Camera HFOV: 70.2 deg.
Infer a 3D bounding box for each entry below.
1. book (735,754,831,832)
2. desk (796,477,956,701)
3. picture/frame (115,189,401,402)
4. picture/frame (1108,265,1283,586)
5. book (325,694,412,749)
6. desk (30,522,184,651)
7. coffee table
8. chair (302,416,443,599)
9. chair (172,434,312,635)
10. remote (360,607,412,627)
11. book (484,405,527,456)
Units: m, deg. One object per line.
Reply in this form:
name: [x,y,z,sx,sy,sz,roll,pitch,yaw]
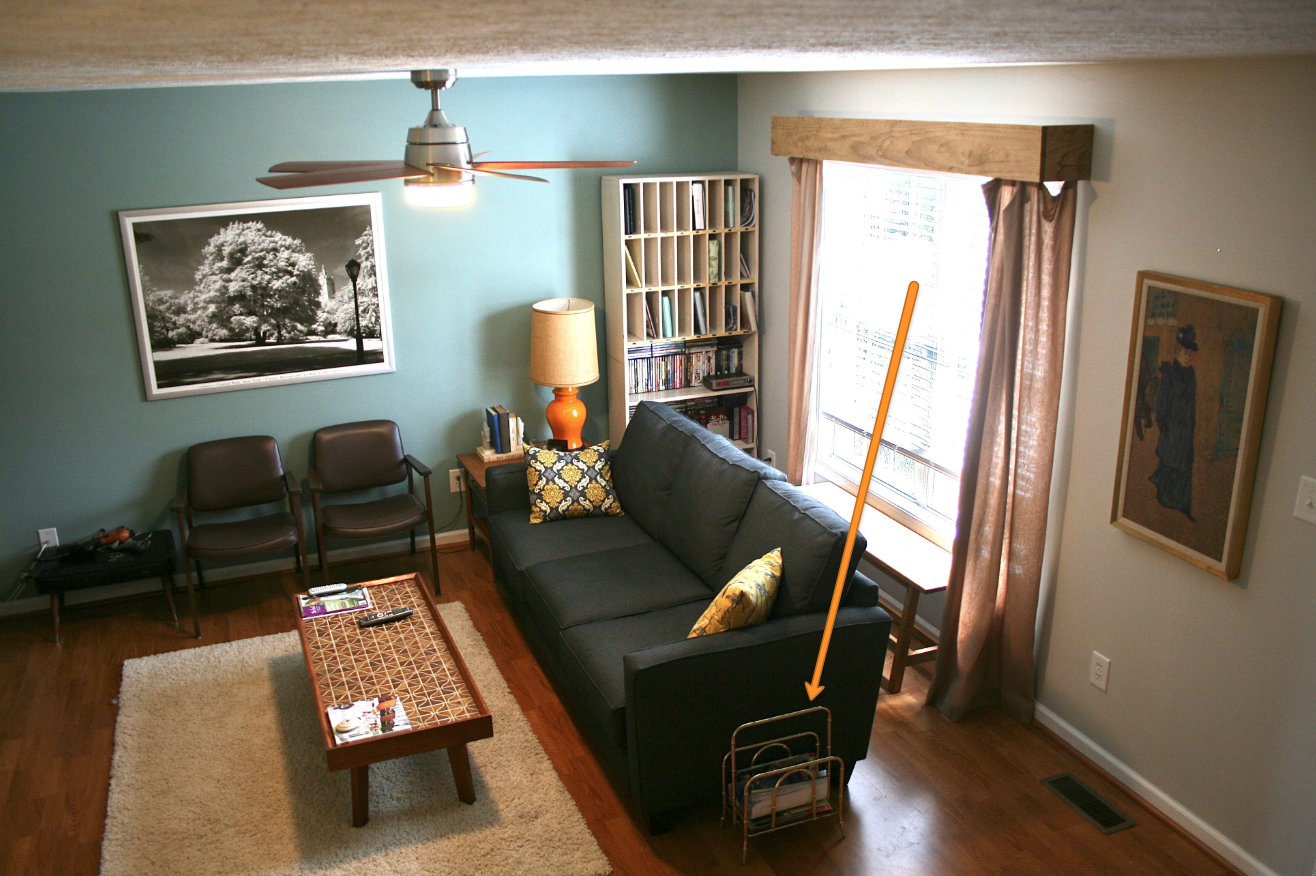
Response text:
book: [0.562,1.559,4.194,0.400,0.247,0.294,-8,19,-13]
desk: [1.118,0.787,4.687,0.365,0.534,1.090,-9,26,-19]
picture/frame: [-2.554,-0.925,5.808,1.370,0.972,0.052,-6,16,-21]
picture/frame: [2.227,-0.074,3.912,0.214,1.187,0.620,-13,20,-25]
book: [-1.288,1.246,4.161,0.327,0.042,0.309,-11,18,-24]
desk: [-3.352,0.807,5.777,0.945,0.584,0.643,-8,33,-19]
coffee table: [-1.289,1.126,4.511,0.836,0.541,1.792,-9,29,-22]
chair: [-1.864,0.451,6.074,0.750,0.968,0.619,-7,22,-23]
chair: [-2.609,0.564,5.857,0.730,0.988,0.670,-10,24,-25]
remote: [-1.439,0.937,4.898,0.150,0.029,0.096,-8,22,-22]
book: [-1.040,-0.044,6.292,0.173,0.280,0.290,-7,17,-29]
